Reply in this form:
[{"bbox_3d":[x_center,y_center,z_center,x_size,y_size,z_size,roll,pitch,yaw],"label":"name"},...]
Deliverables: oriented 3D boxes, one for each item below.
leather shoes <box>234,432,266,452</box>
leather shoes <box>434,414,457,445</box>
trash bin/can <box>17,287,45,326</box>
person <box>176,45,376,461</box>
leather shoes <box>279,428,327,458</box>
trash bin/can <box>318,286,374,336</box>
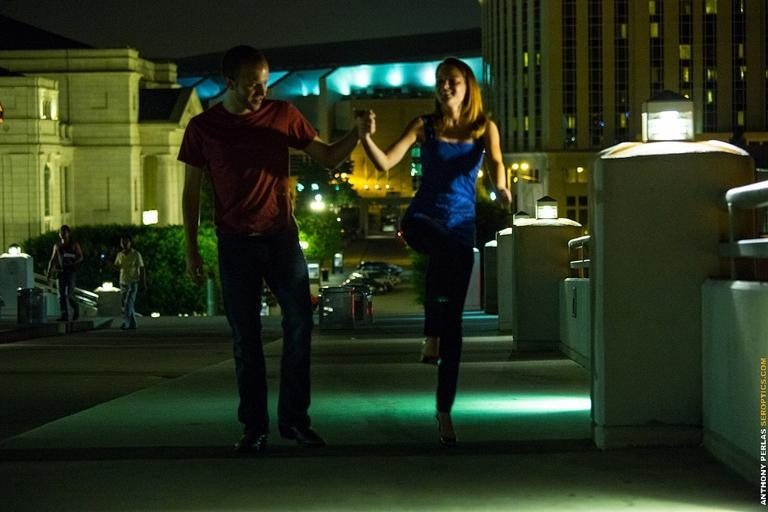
[{"bbox_3d":[-1.022,1.387,6.966,0.263,0.112,0.096,5,-6,-24],"label":"leather shoes"},{"bbox_3d":[0.467,1.301,7.120,0.142,0.229,0.241,-3,5,-3],"label":"leather shoes"},{"bbox_3d":[-7.774,1.083,20.845,0.751,0.772,0.706,0,-1,8],"label":"trash bin/can"},{"bbox_3d":[-0.911,-0.074,7.188,1.225,3.042,0.692,-3,5,-9],"label":"person"},{"bbox_3d":[-0.602,1.392,7.071,0.389,0.148,0.146,6,4,39],"label":"leather shoes"},{"bbox_3d":[-0.941,1.246,22.628,1.109,1.355,1.880,-1,0,8],"label":"trash bin/can"}]
